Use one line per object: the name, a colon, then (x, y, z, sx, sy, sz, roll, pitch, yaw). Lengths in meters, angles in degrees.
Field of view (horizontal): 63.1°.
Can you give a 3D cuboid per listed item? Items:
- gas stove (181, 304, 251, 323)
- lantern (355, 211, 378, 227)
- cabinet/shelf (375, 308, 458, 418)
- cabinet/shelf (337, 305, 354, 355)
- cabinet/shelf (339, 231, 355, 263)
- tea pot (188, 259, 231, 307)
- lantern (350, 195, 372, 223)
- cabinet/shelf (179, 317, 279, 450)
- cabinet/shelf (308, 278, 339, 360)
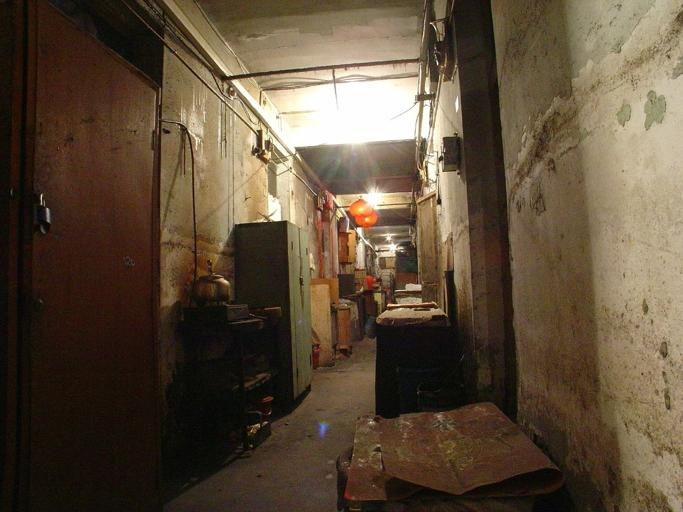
gas stove: (-1.003, 0.472, 4.481, 0.533, 0.165, 0.340, -3, 4, -19)
lantern: (0.394, -0.584, 8.979, 0.338, 0.368, 0.362, -1, 6, 8)
cabinet/shelf: (0.562, 1.094, 4.605, 0.663, 1.213, 0.709, 1, -8, 12)
cabinet/shelf: (0.035, 1.154, 8.544, 0.251, 0.687, 0.698, -3, -3, 7)
cabinet/shelf: (0.123, -0.176, 12.761, 0.518, 0.648, 0.536, 2, -2, -11)
tea pot: (-1.053, 0.243, 4.603, 0.329, 0.399, 0.342, -2, -7, 0)
lantern: (0.280, -0.741, 8.967, 0.341, 0.476, 0.378, -4, 1, 9)
cabinet/shelf: (-0.962, 1.136, 5.047, 0.411, 1.082, 1.059, -4, -4, 2)
cabinet/shelf: (-0.263, 0.884, 7.468, 0.371, 1.144, 1.112, -2, -2, 5)
